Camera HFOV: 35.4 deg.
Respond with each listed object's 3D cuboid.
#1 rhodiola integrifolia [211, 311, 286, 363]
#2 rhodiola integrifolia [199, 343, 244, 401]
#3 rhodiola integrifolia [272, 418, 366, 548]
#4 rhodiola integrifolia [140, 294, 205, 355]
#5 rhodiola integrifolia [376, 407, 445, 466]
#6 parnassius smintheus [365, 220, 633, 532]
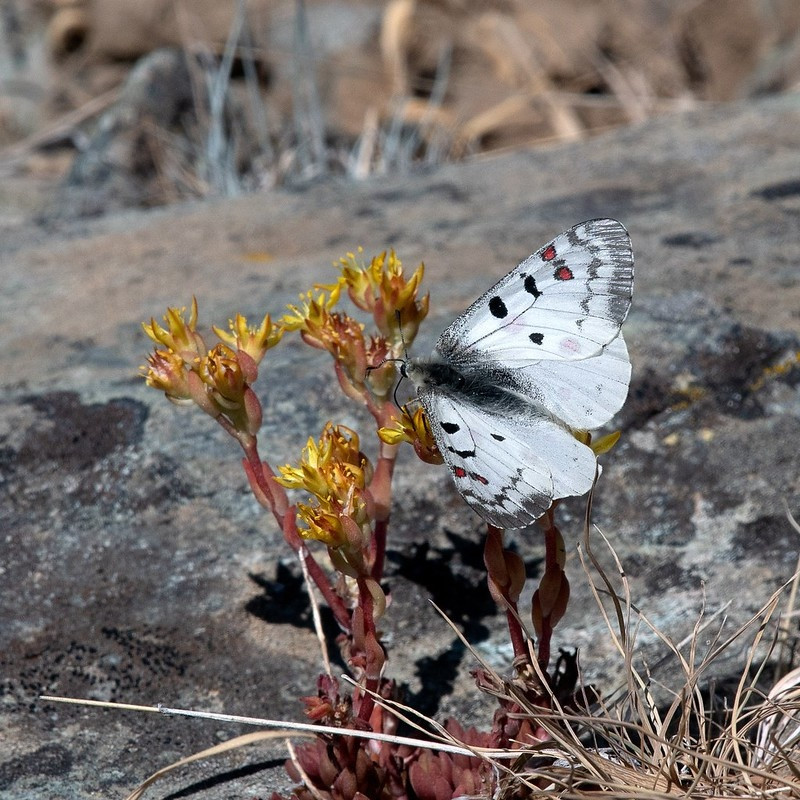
[{"bbox_3d":[-0.455,-0.217,3.923,0.199,0.119,0.214,-9,-10,20],"label":"rhodiola integrifolia"},{"bbox_3d":[-0.531,-0.074,3.709,0.125,0.162,0.095,-13,31,-13],"label":"rhodiola integrifolia"},{"bbox_3d":[-0.208,0.253,3.618,0.277,0.282,0.298,-9,29,-9],"label":"rhodiola integrifolia"},{"bbox_3d":[-0.680,-0.192,3.874,0.217,0.260,0.168,-5,27,-2],"label":"rhodiola integrifolia"},{"bbox_3d":[0.013,0.087,3.728,0.186,0.174,0.192,-17,32,-36],"label":"rhodiola integrifolia"},{"bbox_3d":[0.321,-0.083,3.560,0.663,0.741,0.607,0,30,8],"label":"parnassius smintheus"}]
